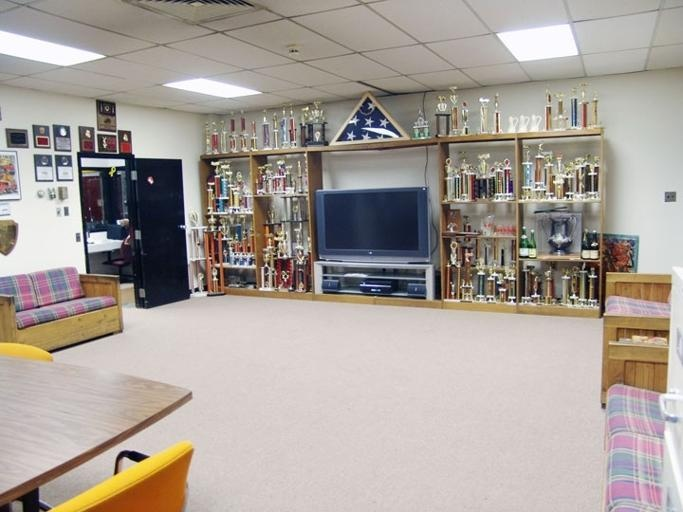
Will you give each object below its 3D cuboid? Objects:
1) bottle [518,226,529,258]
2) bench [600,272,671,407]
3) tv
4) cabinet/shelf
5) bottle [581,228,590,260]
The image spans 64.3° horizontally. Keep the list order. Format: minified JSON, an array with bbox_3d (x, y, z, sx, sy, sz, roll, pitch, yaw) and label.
[{"bbox_3d":[2.370,-0.191,7.030,0.118,0.338,0.414,2,12,19],"label":"bottle"},{"bbox_3d":[2.299,0.654,4.222,0.463,0.926,0.638,6,7,21],"label":"bench"},{"bbox_3d":[0.422,-0.471,7.762,1.581,1.112,0.122,0,21,8],"label":"tv"},{"bbox_3d":[1.002,-0.449,7.532,5.428,2.324,0.600,1,5,22],"label":"cabinet/shelf"},{"bbox_3d":[3.029,-0.151,6.729,0.092,0.315,0.353,3,12,24],"label":"bottle"}]
